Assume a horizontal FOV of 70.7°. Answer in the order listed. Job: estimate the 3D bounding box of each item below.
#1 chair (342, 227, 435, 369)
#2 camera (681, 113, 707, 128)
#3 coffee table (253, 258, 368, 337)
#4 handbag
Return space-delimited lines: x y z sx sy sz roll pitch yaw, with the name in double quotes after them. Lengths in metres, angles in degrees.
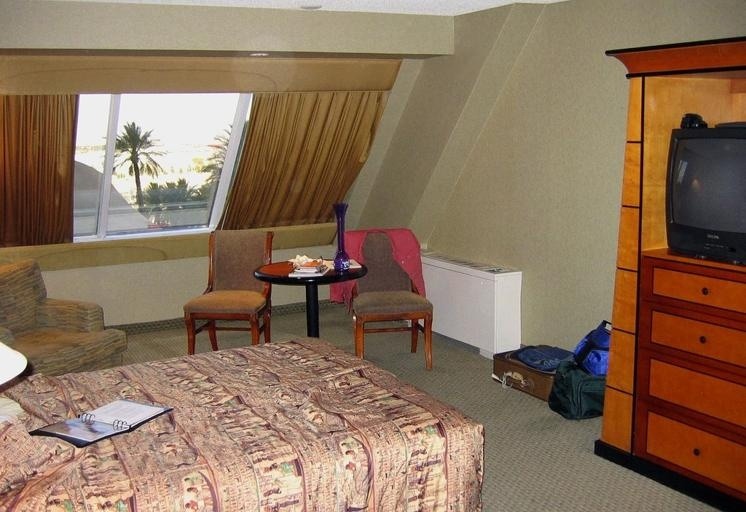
0.197 0.387 5.388 0.984 1.196 0.920 3 11 7 "chair"
1.978 -0.825 3.260 0.159 0.077 0.110 -1 2 -34 "camera"
-0.591 0.388 5.001 0.941 0.822 0.807 -2 3 -7 "coffee table"
1.689 0.915 4.230 0.246 0.641 0.550 20 -16 -31 "handbag"
